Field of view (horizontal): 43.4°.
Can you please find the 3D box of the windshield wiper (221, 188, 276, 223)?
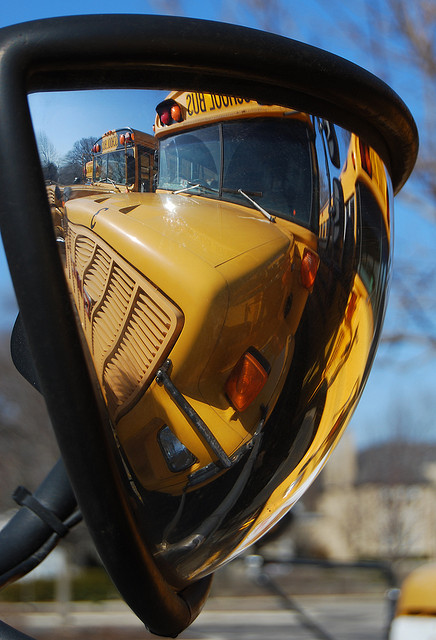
[{"bbox_3d":[0.018,-0.072,0.347,0.026,0.007,0.014,38,55,1],"label":"windshield wiper"}]
